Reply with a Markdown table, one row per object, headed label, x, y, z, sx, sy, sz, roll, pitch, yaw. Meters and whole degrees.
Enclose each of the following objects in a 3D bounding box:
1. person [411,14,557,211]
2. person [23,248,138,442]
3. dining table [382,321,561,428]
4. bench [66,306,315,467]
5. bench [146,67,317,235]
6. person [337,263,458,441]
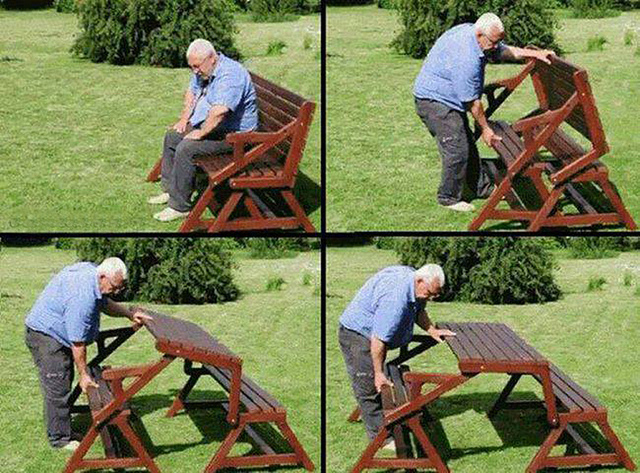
| label | x | y | z | sx | sy | sz | roll | pitch | yaw |
| --- | --- | --- | --- | --- | --- | --- | --- | --- | --- |
| person | 1.663 | -1.328 | 8.100 | 1.070 | 2.162 | 0.802 | -5 | 12 | -29 |
| person | -2.160 | 1.031 | 6.814 | 1.025 | 1.853 | 0.928 | 2 | 26 | -18 |
| dining table | 1.456 | 1.082 | 6.466 | 1.052 | 0.485 | 1.183 | 0 | 10 | 1 |
| bench | -1.214 | 1.508 | 6.746 | 1.566 | 1.070 | 1.743 | -1 | 14 | -14 |
| bench | -0.829 | -0.771 | 7.900 | 1.429 | 1.934 | 1.846 | -5 | 13 | -30 |
| person | 0.663 | 1.098 | 6.705 | 0.905 | 1.858 | 0.806 | 2 | 27 | 4 |
